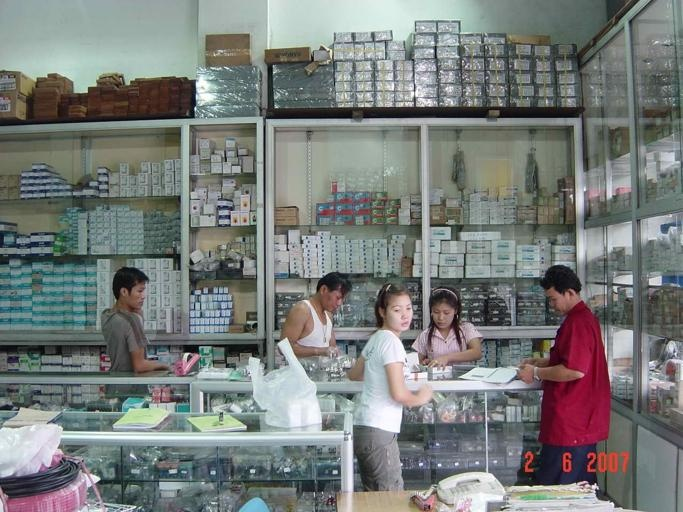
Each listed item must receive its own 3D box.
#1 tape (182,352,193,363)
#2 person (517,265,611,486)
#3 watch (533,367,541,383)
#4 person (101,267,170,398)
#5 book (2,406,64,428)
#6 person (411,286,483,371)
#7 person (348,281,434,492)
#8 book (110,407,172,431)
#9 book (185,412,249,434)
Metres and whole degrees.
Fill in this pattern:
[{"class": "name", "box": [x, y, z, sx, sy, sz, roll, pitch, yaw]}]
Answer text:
[{"class": "tape", "box": [-1.190, 0.788, 5.652, 0.061, 0.085, 0.093, 4, 16, 5]}, {"class": "person", "box": [1.634, 0.880, 5.385, 0.624, 1.602, 0.371, -1, 0, 17]}, {"class": "watch", "box": [1.410, 0.858, 5.345, 0.054, 0.098, 0.094, 1, -23, 12]}, {"class": "person", "box": [-1.762, 0.548, 6.168, 0.475, 1.004, 1.908, -1, 0, -19]}, {"class": "book", "box": [-1.930, 0.999, 4.621, 0.322, 0.102, 0.293, -2, 0, -20]}, {"class": "person", "box": [0.850, 0.649, 5.982, 0.497, 0.792, 0.469, -3, -11, 0]}, {"class": "person", "box": [0.337, 0.885, 4.906, 0.500, 1.385, 0.271, -1, 0, 27]}, {"class": "book", "box": [-1.237, 1.011, 4.585, 0.311, 0.129, 0.234, -2, 0, 2]}, {"class": "book", "box": [-0.770, 1.027, 4.548, 0.370, 0.106, 0.248, -2, 0, -8]}]
